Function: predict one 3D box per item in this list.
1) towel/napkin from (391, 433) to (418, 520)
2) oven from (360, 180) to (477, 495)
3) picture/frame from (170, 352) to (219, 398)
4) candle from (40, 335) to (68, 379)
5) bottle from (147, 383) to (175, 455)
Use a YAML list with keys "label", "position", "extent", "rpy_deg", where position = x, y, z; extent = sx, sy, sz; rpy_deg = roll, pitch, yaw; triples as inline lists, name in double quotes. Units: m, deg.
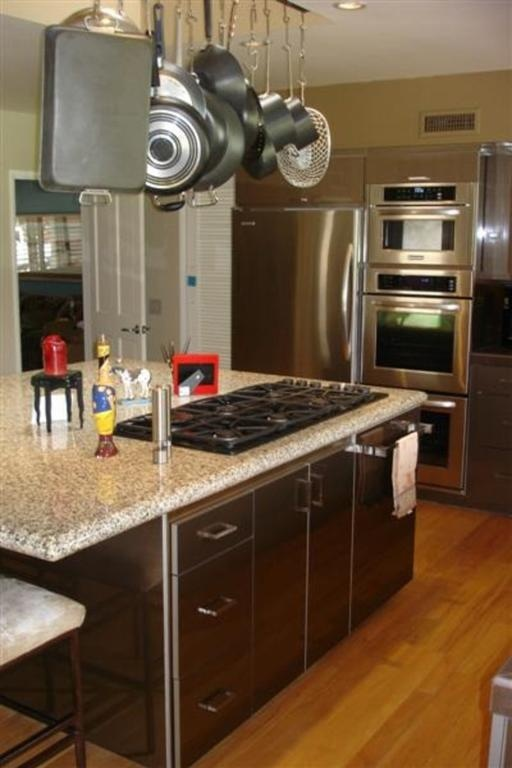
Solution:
- label: "towel/napkin"
  position: [0.656, 0.401, 2.787]
  extent: [0.055, 0.403, 0.348]
  rpy_deg: [4, 13, 29]
- label: "oven"
  position: [1.090, -0.320, 4.359]
  extent: [0.716, 2.031, 0.571]
  rpy_deg: [2, 4, 8]
- label: "picture/frame"
  position: [-0.280, -0.054, 2.812]
  extent: [0.194, 0.185, 0.181]
  rpy_deg: [0, 14, -3]
- label: "candle"
  position: [-0.693, -0.100, 2.160]
  extent: [0.077, 0.130, 0.160]
  rpy_deg: [-2, 9, -20]
- label: "bottle"
  position: [-0.271, 0.117, 1.804]
  extent: [0.052, 0.227, 0.086]
  rpy_deg: [0, 9, -9]
